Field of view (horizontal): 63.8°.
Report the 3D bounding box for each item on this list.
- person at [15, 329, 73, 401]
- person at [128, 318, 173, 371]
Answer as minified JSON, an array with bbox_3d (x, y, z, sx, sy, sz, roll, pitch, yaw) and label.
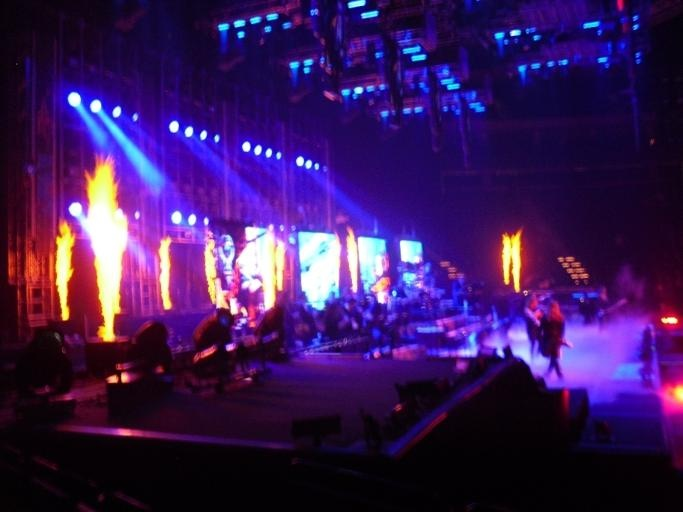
[{"bbox_3d":[-5.381,1.893,9.918,0.895,1.234,0.520,1,-8,-32],"label":"person"},{"bbox_3d":[-3.796,1.830,10.934,0.811,1.040,0.536,0,-7,-25],"label":"person"}]
